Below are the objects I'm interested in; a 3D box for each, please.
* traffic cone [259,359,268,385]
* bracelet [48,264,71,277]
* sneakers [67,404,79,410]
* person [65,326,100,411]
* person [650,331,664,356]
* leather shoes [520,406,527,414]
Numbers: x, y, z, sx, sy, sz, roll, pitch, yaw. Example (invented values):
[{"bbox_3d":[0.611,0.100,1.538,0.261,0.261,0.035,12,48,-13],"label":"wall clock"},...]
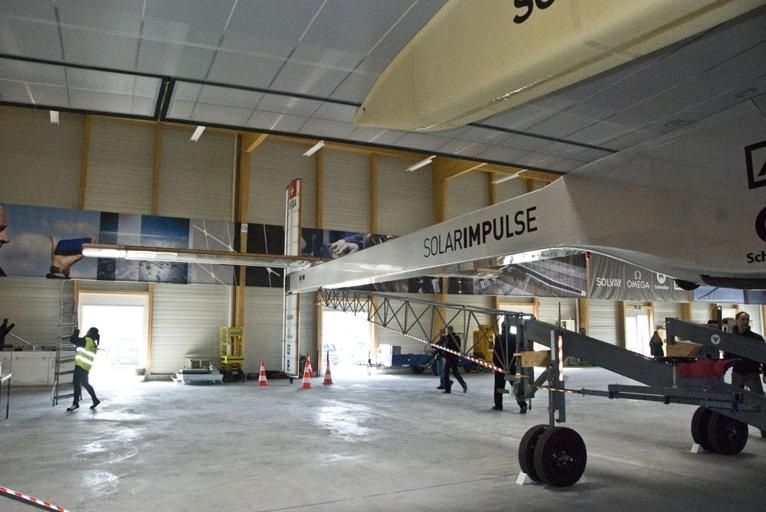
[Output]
[{"bbox_3d":[-3.991,3.915,16.808,0.312,0.782,1.154,2,-7,-14],"label":"traffic cone"},{"bbox_3d":[-10.415,0.506,16.208,0.440,0.346,0.332,9,-6,8],"label":"bracelet"},{"bbox_3d":[-7.145,3.511,11.651,0.153,0.102,0.275,-6,-11,17],"label":"sneakers"},{"bbox_3d":[-7.256,2.705,12.227,0.678,1.903,1.354,5,-9,-31],"label":"person"},{"bbox_3d":[10.866,3.501,20.016,0.409,0.976,1.652,-3,-8,26],"label":"person"},{"bbox_3d":[3.212,3.560,11.518,0.093,0.117,0.176,2,-14,-6],"label":"leather shoes"}]
